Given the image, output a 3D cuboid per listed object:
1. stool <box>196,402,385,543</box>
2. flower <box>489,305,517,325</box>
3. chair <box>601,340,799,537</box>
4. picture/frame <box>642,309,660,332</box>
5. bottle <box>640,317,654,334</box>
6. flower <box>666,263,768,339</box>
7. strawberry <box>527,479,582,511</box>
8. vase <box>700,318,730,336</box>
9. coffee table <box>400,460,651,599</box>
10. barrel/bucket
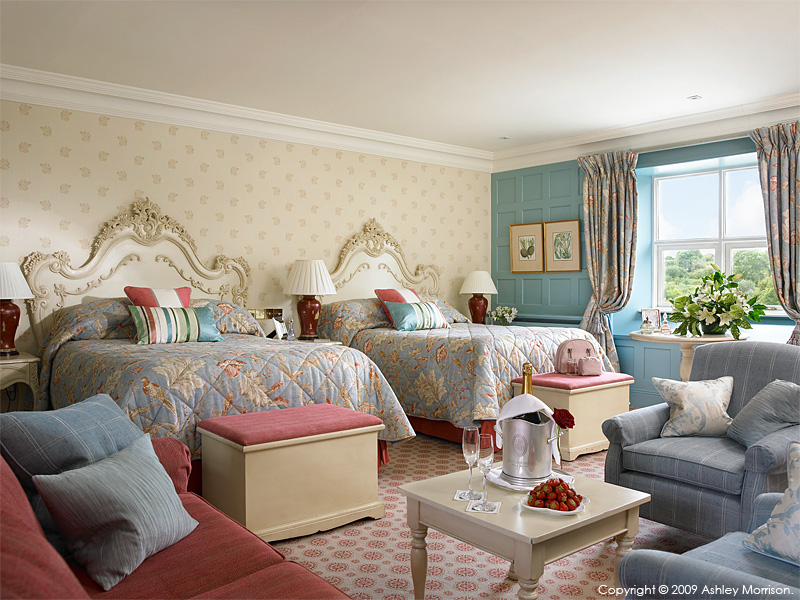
[{"bbox_3d":[-0.784,0.918,3.473,1.035,0.656,0.748,0,-1,-39],"label":"stool"},{"bbox_3d":[1.399,0.221,7.397,0.282,0.198,0.280,6,-6,-2],"label":"flower"},{"bbox_3d":[1.844,0.727,3.496,1.220,1.341,1.120,2,-2,-39],"label":"chair"},{"bbox_3d":[2.777,0.230,5.952,0.236,0.295,0.022,6,-32,9],"label":"picture/frame"},{"bbox_3d":[2.674,0.275,5.834,0.164,0.096,0.286,2,3,29],"label":"bottle"},{"bbox_3d":[2.856,0.069,4.919,0.842,0.577,0.847,-2,1,20],"label":"flower"},{"bbox_3d":[0.684,0.872,2.400,0.147,0.063,0.150,-2,-2,32],"label":"strawberry"},{"bbox_3d":[2.754,0.241,4.736,0.173,0.127,0.161,4,-6,-23],"label":"vase"},{"bbox_3d":[0.637,0.892,2.517,0.741,0.441,0.730,5,-4,-39],"label":"coffee table"},{"bbox_3d":[0.621,0.675,2.773,0.430,0.410,0.297,-2,-3,31],"label":"barrel/bucket"}]
